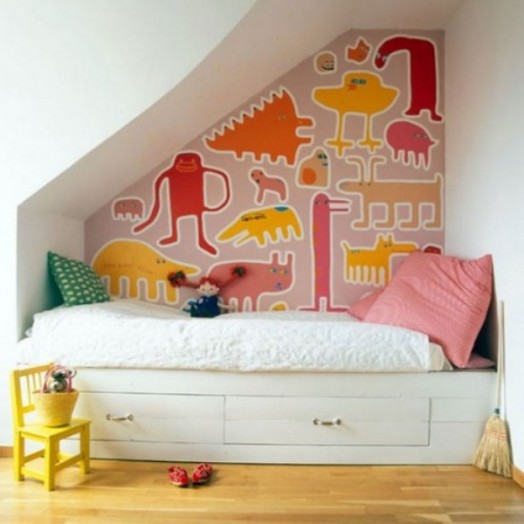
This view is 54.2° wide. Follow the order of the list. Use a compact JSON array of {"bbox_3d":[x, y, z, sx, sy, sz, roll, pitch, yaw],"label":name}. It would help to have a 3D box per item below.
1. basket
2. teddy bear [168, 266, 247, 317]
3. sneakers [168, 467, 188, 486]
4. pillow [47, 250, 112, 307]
[{"bbox_3d":[-0.998,0.629,2.434,0.245,0.253,0.213,0,-10,6],"label":"basket"},{"bbox_3d":[-0.348,0.242,3.305,0.519,0.367,0.116,-4,-16,16],"label":"teddy bear"},{"bbox_3d":[-0.380,0.989,2.364,0.091,0.056,0.125,-2,12,-12],"label":"sneakers"},{"bbox_3d":[-1.018,0.100,2.979,0.310,0.328,0.319,11,16,41],"label":"pillow"}]
